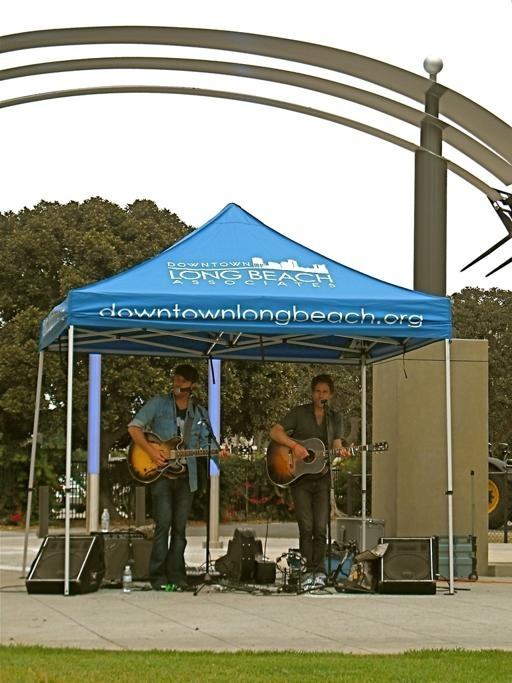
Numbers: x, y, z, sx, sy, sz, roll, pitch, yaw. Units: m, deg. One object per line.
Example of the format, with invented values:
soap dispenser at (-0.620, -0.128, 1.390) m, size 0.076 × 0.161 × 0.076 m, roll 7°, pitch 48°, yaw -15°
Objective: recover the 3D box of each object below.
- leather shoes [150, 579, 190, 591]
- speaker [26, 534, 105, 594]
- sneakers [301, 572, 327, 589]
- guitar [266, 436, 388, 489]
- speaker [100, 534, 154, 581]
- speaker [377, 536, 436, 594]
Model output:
leather shoes at (-0.724, 2.097, 9.419) m, size 0.345 × 0.112 × 0.297 m, roll 3°, pitch -13°, yaw -17°
speaker at (-1.579, 1.845, 9.212) m, size 0.524 × 0.519 × 0.528 m, roll -2°, pitch -3°, yaw 25°
sneakers at (0.501, 2.083, 9.458) m, size 0.240 × 0.146 × 0.135 m, roll 1°, pitch -12°, yaw -8°
guitar at (0.401, 1.060, 9.630) m, size 0.644 × 0.407 × 0.322 m, roll -1°, pitch -12°, yaw 5°
speaker at (-1.200, 1.952, 9.970) m, size 0.492 × 0.425 × 0.496 m, roll 1°, pitch -1°, yaw -22°
speaker at (1.269, 1.875, 9.285) m, size 0.474 × 0.472 × 0.479 m, roll 1°, pitch -8°, yaw 0°
